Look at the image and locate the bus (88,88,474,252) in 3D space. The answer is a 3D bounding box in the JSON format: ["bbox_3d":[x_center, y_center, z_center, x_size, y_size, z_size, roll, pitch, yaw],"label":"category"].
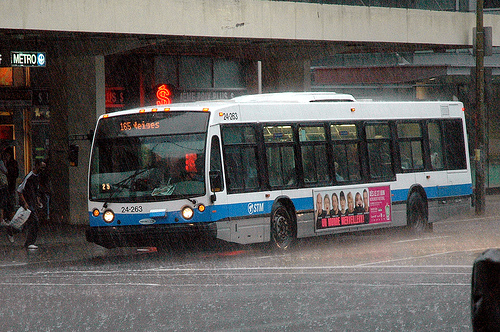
[{"bbox_3d":[1.808,0.128,23.343,3.964,4.264,12.055,-4,-3,41],"label":"bus"}]

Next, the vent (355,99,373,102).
[{"bbox_3d":[3.266,-1.864,23.661,0.692,0.076,0.549,-2,4,-22],"label":"vent"}]

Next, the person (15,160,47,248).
[{"bbox_3d":[-5.613,1.009,21.667,0.662,2.320,0.943,-1,3,-4],"label":"person"}]

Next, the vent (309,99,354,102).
[{"bbox_3d":[2.251,-1.782,22.640,1.574,0.070,0.290,-4,6,-44],"label":"vent"}]

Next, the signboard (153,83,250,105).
[{"bbox_3d":[-2.016,-2.729,30.548,2.854,0.832,0.738,-4,41,-18],"label":"signboard"}]
